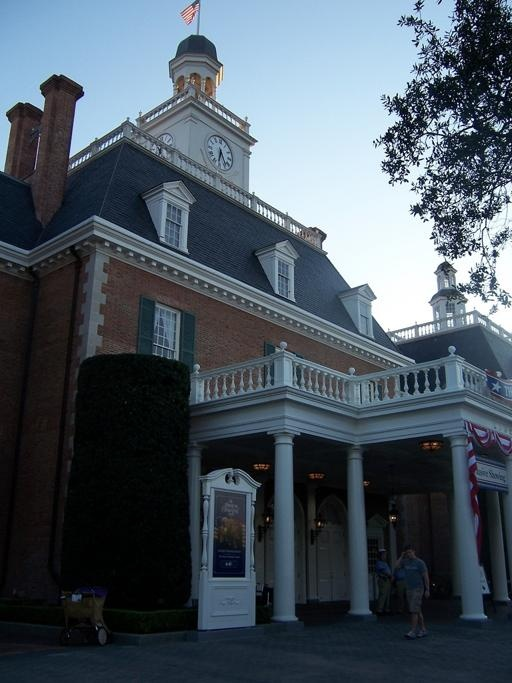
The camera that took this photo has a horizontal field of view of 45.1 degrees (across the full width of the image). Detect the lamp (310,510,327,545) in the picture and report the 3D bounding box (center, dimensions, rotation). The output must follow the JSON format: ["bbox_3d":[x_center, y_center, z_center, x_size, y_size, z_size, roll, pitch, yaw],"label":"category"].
[{"bbox_3d":[2.152,6.366,21.067,0.502,1.063,1.281,-6,-17,15],"label":"lamp"}]

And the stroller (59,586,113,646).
[{"bbox_3d":[-2.508,4.112,9.274,0.597,0.773,0.814,-9,-18,16],"label":"stroller"}]

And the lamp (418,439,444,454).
[{"bbox_3d":[3.809,2.217,13.430,0.597,0.309,0.577,0,-17,7],"label":"lamp"}]

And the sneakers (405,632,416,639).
[{"bbox_3d":[2.486,4.713,9.923,0.168,0.119,0.283,-5,-17,12],"label":"sneakers"}]
